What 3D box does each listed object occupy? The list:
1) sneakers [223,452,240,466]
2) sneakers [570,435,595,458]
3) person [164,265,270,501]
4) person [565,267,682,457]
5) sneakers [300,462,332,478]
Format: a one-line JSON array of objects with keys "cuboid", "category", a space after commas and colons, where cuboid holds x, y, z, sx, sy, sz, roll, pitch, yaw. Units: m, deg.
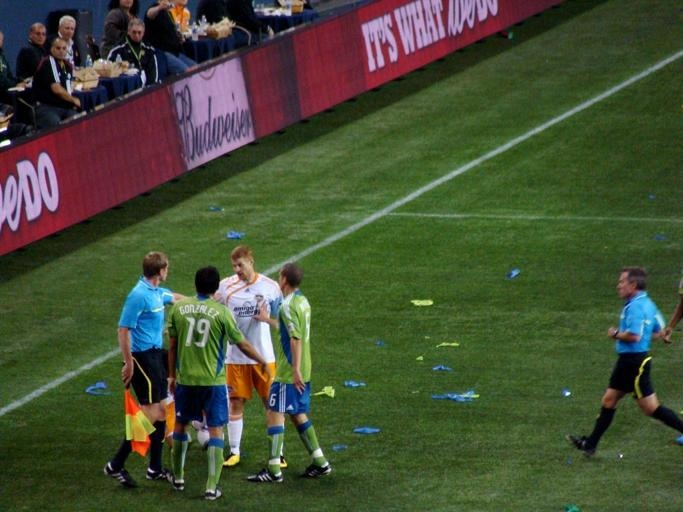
[{"cuboid": [-1.462, 2.765, 20.803, 0.237, 0.117, 0.106, -5, -13, 31], "category": "sneakers"}, {"cuboid": [3.183, 2.565, 20.680, 0.138, 0.268, 0.088, -32, 16, 52], "category": "sneakers"}, {"cuboid": [-1.789, 1.644, 20.141, 0.956, 2.762, 1.187, 9, 25, 26], "category": "person"}, {"cuboid": [3.860, 1.447, 20.552, 1.458, 2.266, 1.123, -22, 29, -38], "category": "person"}, {"cuboid": [-0.335, 2.850, 20.444, 0.437, 0.200, 0.154, 0, 2, 0], "category": "sneakers"}]
